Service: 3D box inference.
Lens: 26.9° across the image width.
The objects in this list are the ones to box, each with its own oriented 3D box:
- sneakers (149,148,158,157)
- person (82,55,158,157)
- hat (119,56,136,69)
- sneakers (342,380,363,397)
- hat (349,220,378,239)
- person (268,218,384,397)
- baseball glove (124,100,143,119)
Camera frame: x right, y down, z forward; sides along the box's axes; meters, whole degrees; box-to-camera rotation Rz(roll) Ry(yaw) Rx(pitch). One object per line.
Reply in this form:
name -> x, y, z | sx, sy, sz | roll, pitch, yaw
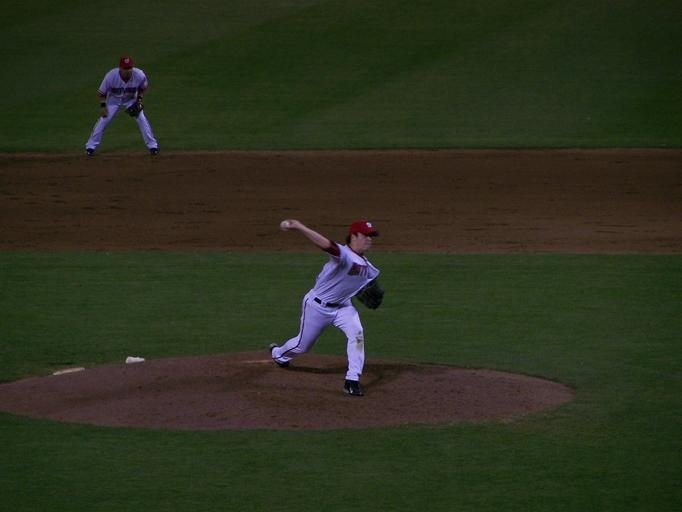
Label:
sneakers -> -3.819, -2.127, 28.990 | 0.159, 0.104, 0.117 | 5, 8, 10
person -> -4.315, -2.955, 28.317 | 1.404, 1.953, 1.062 | 3, 9, -9
hat -> -4.193, -3.756, 27.819 | 0.228, 0.239, 0.327 | 2, 7, -16
sneakers -> 0.225, 2.131, 22.962 | 0.457, 0.175, 0.157 | 6, 8, 35
hat -> 0.365, -0.418, 23.181 | 0.480, 0.215, 0.315 | -1, 3, 20
person -> -0.126, 0.791, 23.261 | 1.530, 2.778, 1.099 | 5, 9, 4
baseball glove -> -4.113, -2.919, 28.302 | 0.300, 0.310, 0.262 | 4, 8, -1
